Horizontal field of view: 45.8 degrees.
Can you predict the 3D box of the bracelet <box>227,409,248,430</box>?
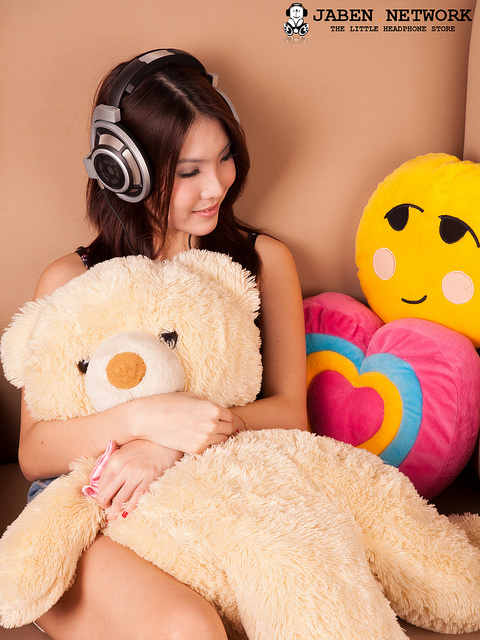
[{"bbox_3d":[-0.003,0.158,0.903,0.037,0.010,0.035,48,14,26],"label":"bracelet"}]
